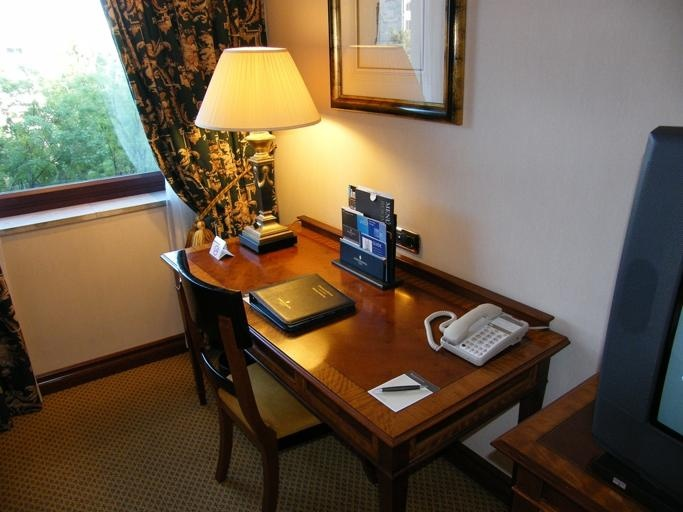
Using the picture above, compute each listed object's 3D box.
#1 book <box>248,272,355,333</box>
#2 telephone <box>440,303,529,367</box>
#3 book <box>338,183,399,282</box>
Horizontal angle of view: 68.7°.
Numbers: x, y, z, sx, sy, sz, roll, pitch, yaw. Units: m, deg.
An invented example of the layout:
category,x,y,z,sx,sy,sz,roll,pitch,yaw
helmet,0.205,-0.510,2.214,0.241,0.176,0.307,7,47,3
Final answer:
category,x,y,z,sx,sy,sz,roll,pitch,yaw
book,-0.137,0.176,1.888,0.233,0.060,0.234,-16,30,-37
telephone,0.484,0.268,1.682,0.255,0.090,0.180,-28,36,-21
book,0.116,-0.083,2.064,0.108,0.349,0.281,-21,37,-30
